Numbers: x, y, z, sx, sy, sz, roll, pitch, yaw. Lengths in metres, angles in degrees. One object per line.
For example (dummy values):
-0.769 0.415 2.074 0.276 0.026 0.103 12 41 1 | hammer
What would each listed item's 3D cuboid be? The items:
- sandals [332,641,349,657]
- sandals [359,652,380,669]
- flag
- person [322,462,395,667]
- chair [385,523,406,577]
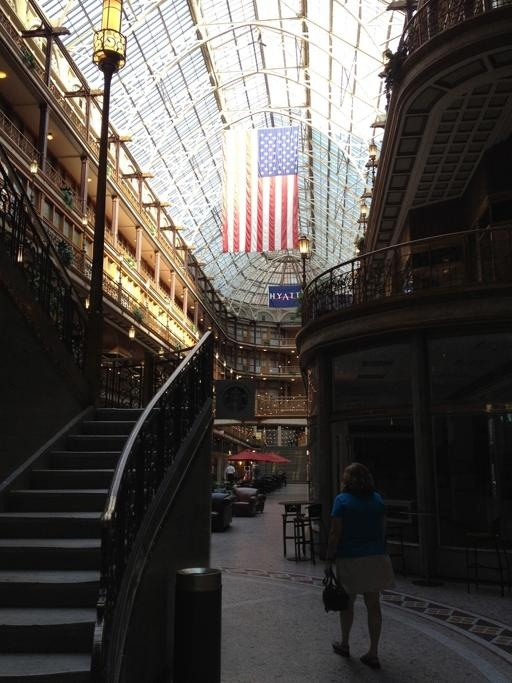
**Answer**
0.668 2.373 4.373 0.061 0.069 0.150 0 -4 -8 | sandals
0.836 2.326 4.113 0.144 0.084 0.181 -2 -17 9 | sandals
0.183 -5.183 19.644 2.613 0.129 4.588 -2 -48 -1 | flag
0.785 1.661 4.282 0.472 1.454 0.531 -3 -16 12 | person
1.983 2.951 8.091 0.352 0.590 0.371 -5 -32 25 | chair
